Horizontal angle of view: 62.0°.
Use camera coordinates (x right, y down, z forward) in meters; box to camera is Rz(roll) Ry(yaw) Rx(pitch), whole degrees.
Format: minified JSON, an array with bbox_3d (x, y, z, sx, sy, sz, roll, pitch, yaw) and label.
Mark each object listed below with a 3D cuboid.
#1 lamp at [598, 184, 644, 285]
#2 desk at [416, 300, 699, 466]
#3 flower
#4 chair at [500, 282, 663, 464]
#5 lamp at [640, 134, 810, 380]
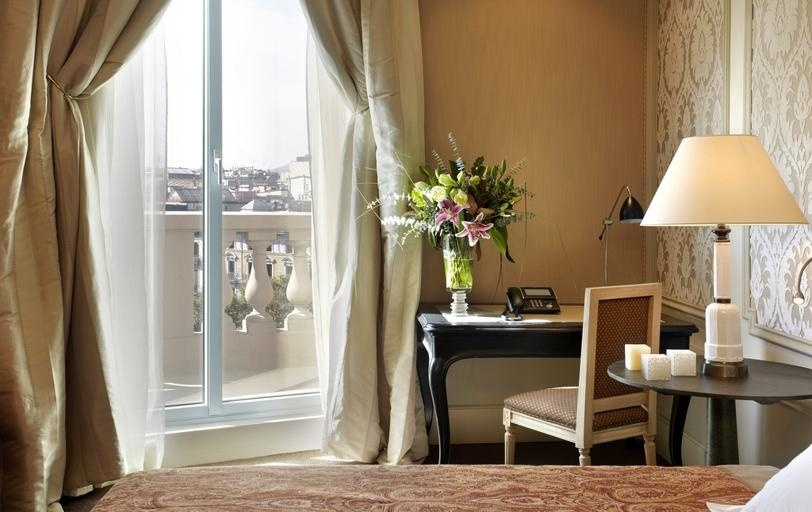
[{"bbox_3d":[1.416,-0.128,4.491,0.267,0.683,0.570,-1,5,16],"label":"lamp"},{"bbox_3d":[0.881,0.650,4.294,1.189,0.680,0.839,-11,1,39],"label":"desk"},{"bbox_3d":[0.355,-0.219,4.346,0.796,0.928,0.791,6,1,-21],"label":"flower"},{"bbox_3d":[1.031,0.741,3.992,0.697,1.229,0.741,-1,3,-22],"label":"chair"},{"bbox_3d":[1.693,-0.040,4.047,0.972,1.621,1.078,-1,3,-9],"label":"lamp"}]
